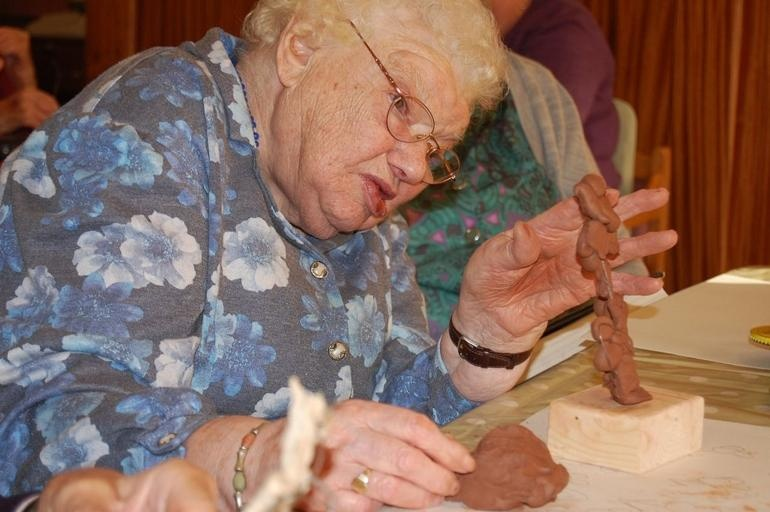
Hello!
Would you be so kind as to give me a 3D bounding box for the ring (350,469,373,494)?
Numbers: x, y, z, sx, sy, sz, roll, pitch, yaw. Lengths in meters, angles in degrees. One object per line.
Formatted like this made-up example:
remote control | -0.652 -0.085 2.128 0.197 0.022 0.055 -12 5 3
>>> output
ring | -0.037 0.377 1.312 0.029 0.041 0.014 35 14 16
